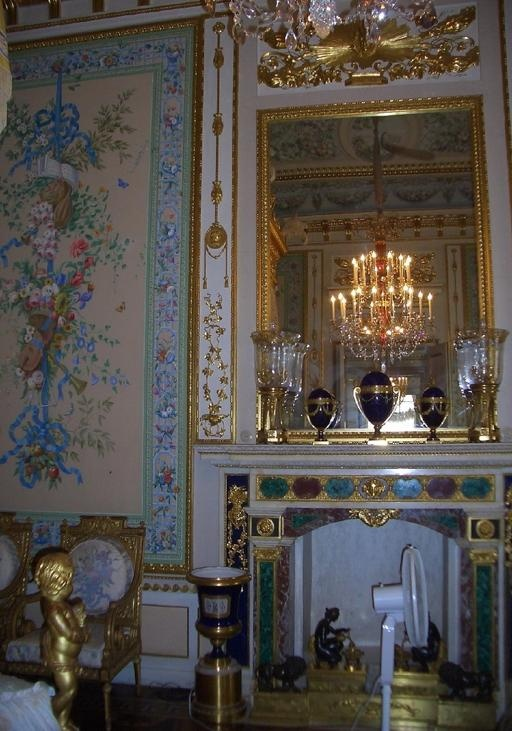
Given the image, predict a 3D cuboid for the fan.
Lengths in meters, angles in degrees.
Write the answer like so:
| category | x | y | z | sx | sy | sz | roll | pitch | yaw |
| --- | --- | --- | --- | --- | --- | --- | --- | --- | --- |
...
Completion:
| category | x | y | z | sx | sy | sz | roll | pitch | yaw |
| --- | --- | --- | --- | --- | --- | --- | --- | --- | --- |
| fan | 0.535 | 1.006 | 3.146 | 0.190 | 0.717 | 0.287 | -1 | -5 | 8 |
